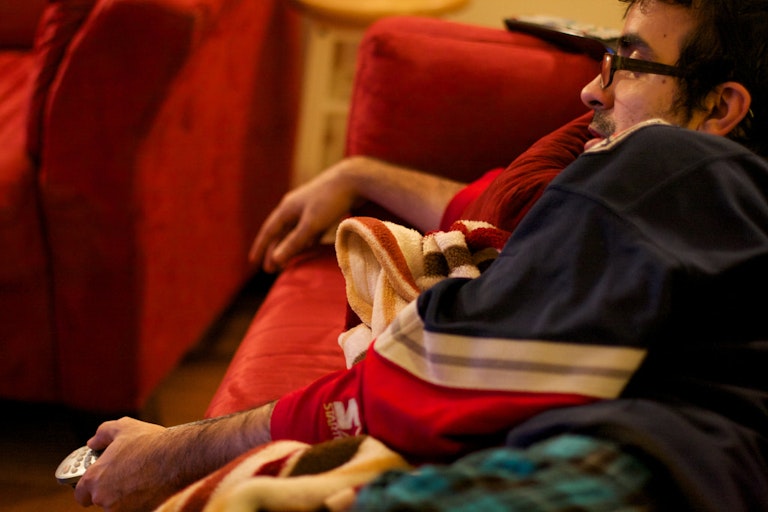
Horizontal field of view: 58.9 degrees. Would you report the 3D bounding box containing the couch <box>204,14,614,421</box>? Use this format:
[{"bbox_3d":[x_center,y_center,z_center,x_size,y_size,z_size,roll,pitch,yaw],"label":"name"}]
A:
[{"bbox_3d":[0.028,-0.089,1.169,0.430,0.528,0.760,24,37,-7],"label":"couch"}]
